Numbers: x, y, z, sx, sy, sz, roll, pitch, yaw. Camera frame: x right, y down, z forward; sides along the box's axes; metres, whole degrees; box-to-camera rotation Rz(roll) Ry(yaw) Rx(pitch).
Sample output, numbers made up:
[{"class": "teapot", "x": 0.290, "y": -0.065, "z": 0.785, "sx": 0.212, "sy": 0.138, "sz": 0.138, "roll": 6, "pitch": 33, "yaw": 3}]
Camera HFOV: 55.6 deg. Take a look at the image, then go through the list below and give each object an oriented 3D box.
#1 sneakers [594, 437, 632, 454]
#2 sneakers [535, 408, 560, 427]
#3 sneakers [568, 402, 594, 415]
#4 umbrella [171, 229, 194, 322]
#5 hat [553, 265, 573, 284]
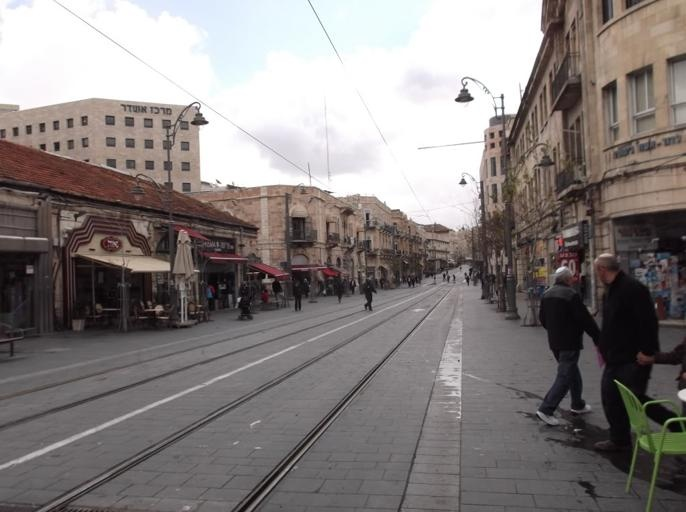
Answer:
[{"class": "sneakers", "x": 3.397, "y": 2.392, "z": 8.276, "sx": 0.464, "sy": 0.219, "sz": 0.177, "roll": 1, "pitch": -6, "yaw": 8}, {"class": "sneakers", "x": 2.878, "y": 2.289, "z": 9.212, "sx": 0.417, "sy": 0.191, "sz": 0.149, "roll": 28, "pitch": 21, "yaw": -20}, {"class": "sneakers", "x": 3.537, "y": 2.294, "z": 9.704, "sx": 0.338, "sy": 0.157, "sz": 0.129, "roll": -9, "pitch": 9, "yaw": -19}, {"class": "umbrella", "x": -6.231, "y": 0.788, "z": 25.298, "sx": 0.775, "sy": 3.663, "sz": 1.891, "roll": -2, "pitch": 4, "yaw": -15}, {"class": "hat", "x": 3.291, "y": 0.273, "z": 9.873, "sx": 0.283, "sy": 0.288, "sz": 0.218, "roll": -19, "pitch": 18, "yaw": -37}]
